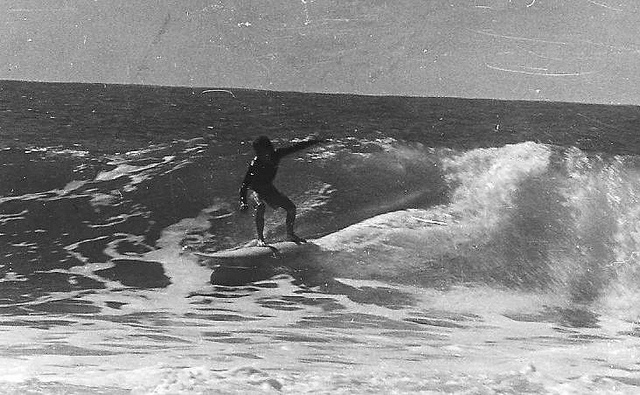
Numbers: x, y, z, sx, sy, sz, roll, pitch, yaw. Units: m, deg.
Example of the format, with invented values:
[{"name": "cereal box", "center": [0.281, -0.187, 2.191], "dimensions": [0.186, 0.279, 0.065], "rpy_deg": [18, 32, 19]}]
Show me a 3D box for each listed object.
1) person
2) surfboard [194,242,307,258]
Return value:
[{"name": "person", "center": [-0.732, -0.108, 12.149], "dimensions": [0.929, 1.547, 0.992], "rpy_deg": [-1, 23, -4]}, {"name": "surfboard", "center": [-0.983, 0.786, 12.002], "dimensions": [1.730, 0.259, 0.227], "rpy_deg": [0, 21, -1]}]
